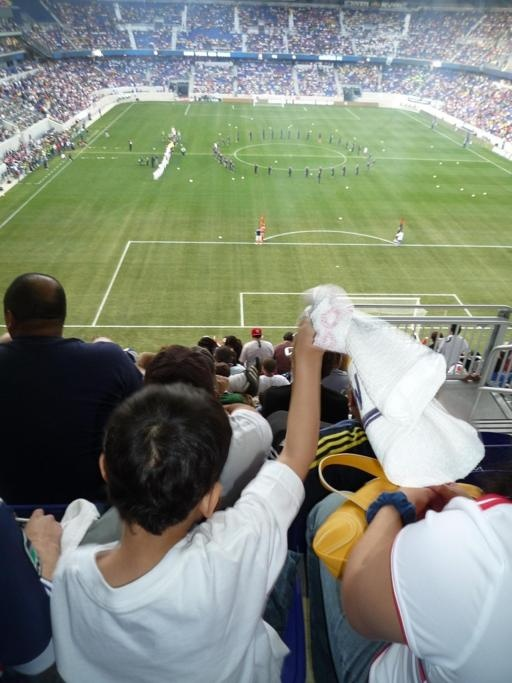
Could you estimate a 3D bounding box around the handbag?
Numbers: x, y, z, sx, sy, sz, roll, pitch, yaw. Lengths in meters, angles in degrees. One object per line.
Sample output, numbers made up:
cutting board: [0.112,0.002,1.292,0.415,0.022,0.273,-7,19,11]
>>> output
handbag: [0.391,0.591,1.599,0.330,0.443,0.151,-33,93,-45]

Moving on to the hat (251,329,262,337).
hat: [0.017,-0.184,10.484,0.188,0.121,0.243,1,3,0]
